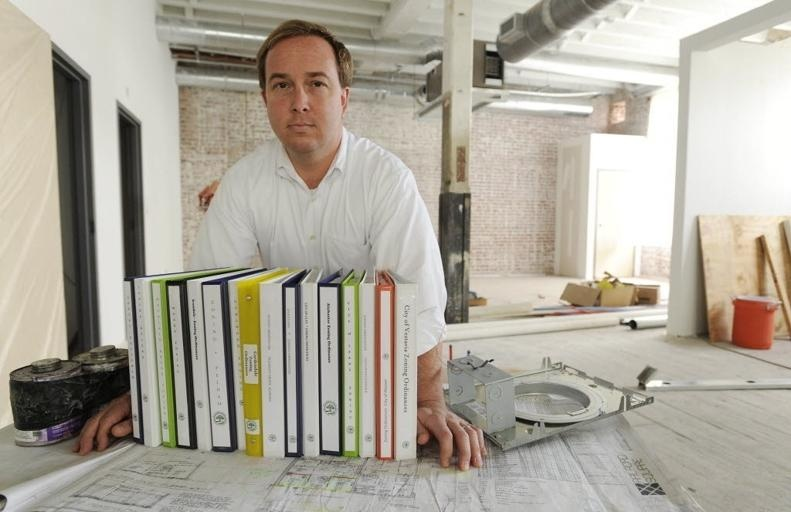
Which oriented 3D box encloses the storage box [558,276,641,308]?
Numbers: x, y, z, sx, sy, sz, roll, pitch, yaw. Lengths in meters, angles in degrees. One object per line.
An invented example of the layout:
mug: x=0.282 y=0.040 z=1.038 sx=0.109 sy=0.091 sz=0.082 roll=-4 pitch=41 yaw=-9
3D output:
storage box: x=2.508 y=0.462 z=7.121 sx=0.839 sy=0.347 sz=0.490 roll=6 pitch=11 yaw=19

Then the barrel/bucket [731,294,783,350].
barrel/bucket: x=3.022 y=0.563 z=4.795 sx=0.294 sy=0.414 sz=0.399 roll=-2 pitch=2 yaw=-39

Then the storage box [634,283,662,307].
storage box: x=3.281 y=0.478 z=7.445 sx=0.364 sy=0.267 sz=0.290 roll=7 pitch=11 yaw=41

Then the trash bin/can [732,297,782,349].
trash bin/can: x=3.025 y=0.563 z=4.802 sx=0.304 sy=0.417 sz=0.425 roll=-2 pitch=3 yaw=-32
